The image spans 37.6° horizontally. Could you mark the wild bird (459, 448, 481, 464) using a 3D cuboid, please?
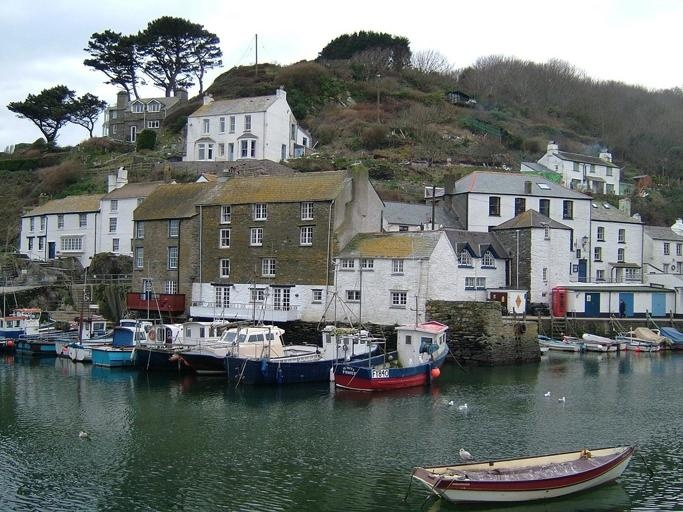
[{"bbox_3d":[6.793,10.794,54.363,0.824,0.941,1.419,9,-11,-15],"label":"wild bird"}]

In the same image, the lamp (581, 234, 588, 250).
[{"bbox_3d":[22.371,-1.218,91.891,0.915,1.210,0.230,0,-2,-41],"label":"lamp"}]
